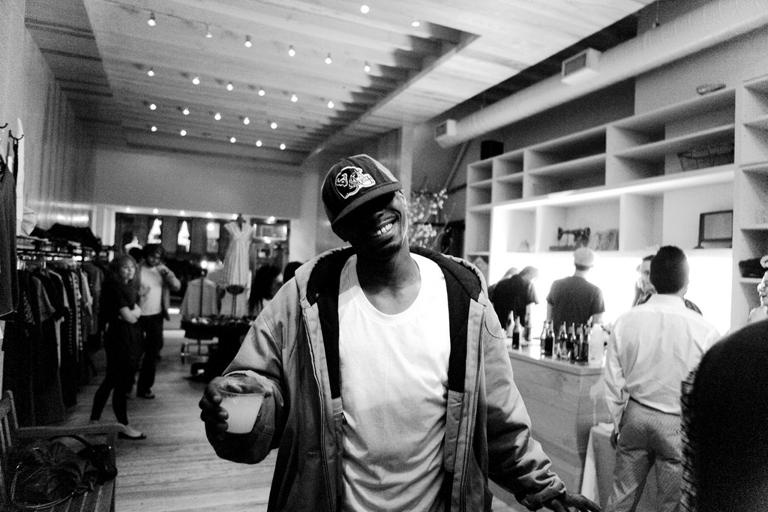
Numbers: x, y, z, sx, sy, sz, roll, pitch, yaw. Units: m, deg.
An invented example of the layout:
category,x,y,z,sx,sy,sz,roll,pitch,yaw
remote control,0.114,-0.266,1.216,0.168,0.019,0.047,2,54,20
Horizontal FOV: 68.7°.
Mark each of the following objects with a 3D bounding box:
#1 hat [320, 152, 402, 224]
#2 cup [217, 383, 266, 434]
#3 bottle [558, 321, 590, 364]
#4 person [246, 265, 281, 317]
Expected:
category,x,y,z,sx,sy,sz,roll,pitch,yaw
hat,-0.127,-0.338,2.646,0.352,0.254,0.470,-26,7,-1
cup,-0.614,0.679,2.434,0.165,0.149,0.181,2,-18,1
bottle,1.785,0.836,5.268,0.215,0.440,0.291,6,-5,-44
person,-1.463,0.445,6.857,0.394,0.734,0.470,2,30,-20
